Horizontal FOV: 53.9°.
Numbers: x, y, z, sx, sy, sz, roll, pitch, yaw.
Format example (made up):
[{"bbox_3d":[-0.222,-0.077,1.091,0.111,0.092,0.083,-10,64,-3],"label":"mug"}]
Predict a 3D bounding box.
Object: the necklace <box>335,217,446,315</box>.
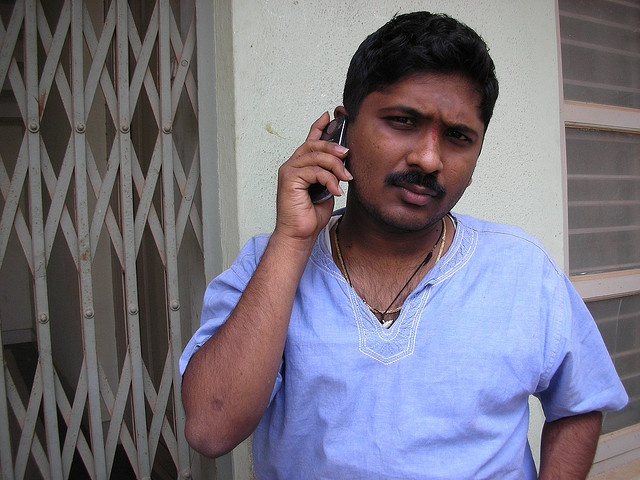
[{"bbox_3d":[0.236,0.135,3.054,0.300,0.535,0.026,0,0,5],"label":"necklace"}]
